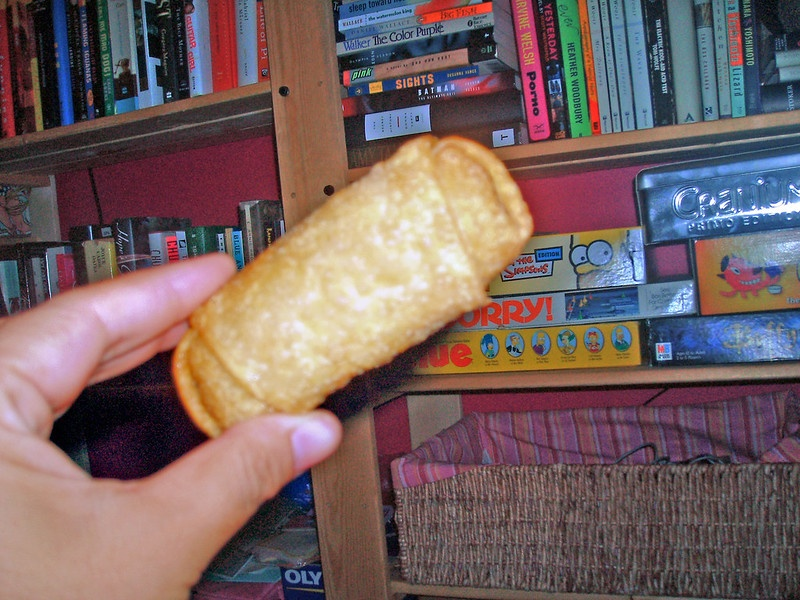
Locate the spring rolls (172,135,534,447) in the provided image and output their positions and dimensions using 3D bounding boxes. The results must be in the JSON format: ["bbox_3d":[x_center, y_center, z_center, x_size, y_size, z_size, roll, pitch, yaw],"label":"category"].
[{"bbox_3d":[-0.064,-0.011,0.925,0.438,0.239,0.146,-30,-1,6],"label":"spring rolls"}]
